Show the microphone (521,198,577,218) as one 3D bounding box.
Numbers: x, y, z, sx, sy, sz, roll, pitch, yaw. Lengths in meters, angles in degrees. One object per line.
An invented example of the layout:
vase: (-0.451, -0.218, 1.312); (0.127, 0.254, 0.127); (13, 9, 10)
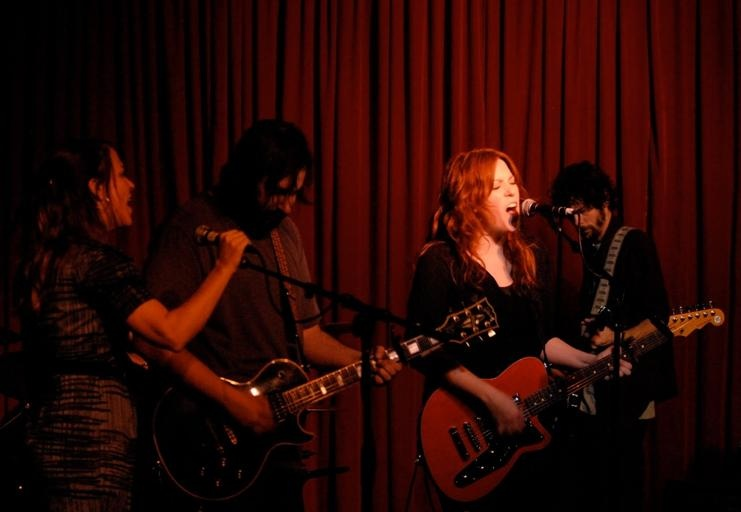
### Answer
microphone: (1.129, -0.299, 4.376); (0.240, 0.095, 0.091); (10, 36, 21)

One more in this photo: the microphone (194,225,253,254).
microphone: (-0.722, -0.102, 3.585); (0.392, 0.137, 0.133); (7, 11, 16)
